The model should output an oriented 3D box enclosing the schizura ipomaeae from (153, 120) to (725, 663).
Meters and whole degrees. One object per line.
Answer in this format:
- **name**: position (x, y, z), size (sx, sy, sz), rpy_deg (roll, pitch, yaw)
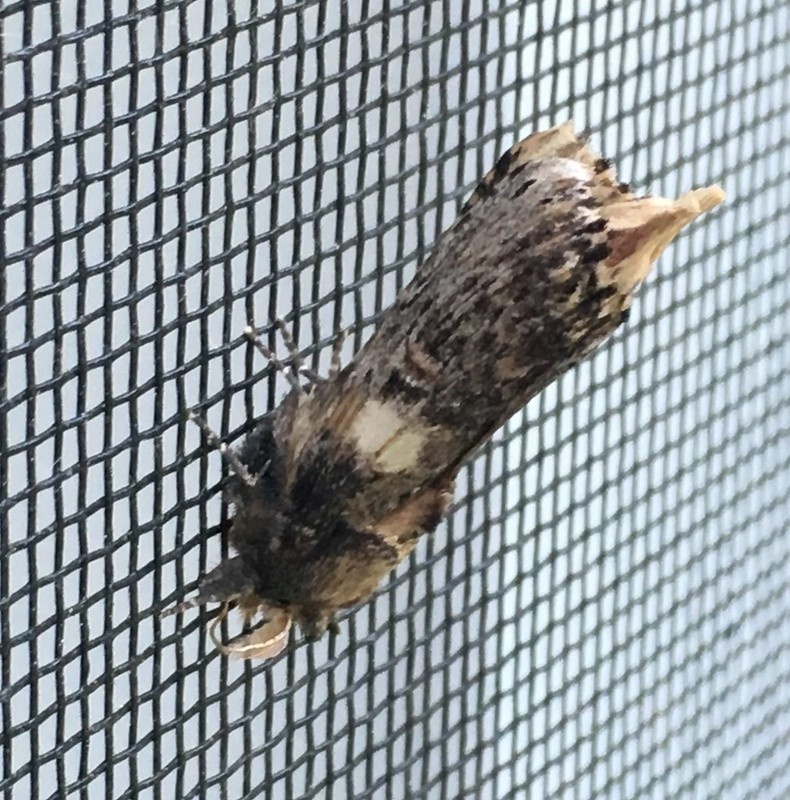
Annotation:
- **schizura ipomaeae**: position (-0.014, -0.026, 2.052), size (0.274, 0.386, 0.585), rpy_deg (42, 76, 3)
